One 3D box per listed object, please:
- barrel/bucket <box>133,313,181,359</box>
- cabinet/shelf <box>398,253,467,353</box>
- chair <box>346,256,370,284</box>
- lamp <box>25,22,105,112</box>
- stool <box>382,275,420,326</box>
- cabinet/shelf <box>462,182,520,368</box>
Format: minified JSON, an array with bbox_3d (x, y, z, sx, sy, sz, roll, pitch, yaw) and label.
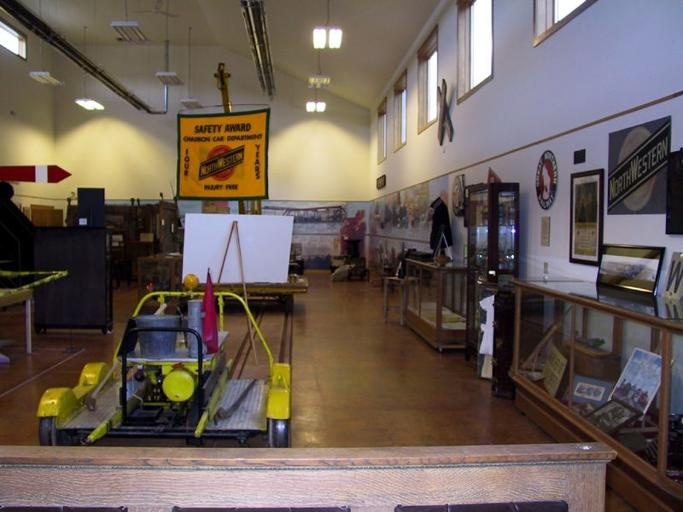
[{"bbox_3d":[-1.343,0.581,3.987,0.300,0.261,0.294,1,2,0],"label":"barrel/bucket"},{"bbox_3d":[1.329,0.655,7.591,0.620,1.128,1.795,0,5,-1],"label":"cabinet/shelf"},{"bbox_3d":[0.441,0.381,15.410,0.512,0.601,0.669,0,5,0],"label":"chair"},{"bbox_3d":[-6.843,-4.633,13.627,1.592,2.114,5.468,-2,6,-25],"label":"lamp"},{"bbox_3d":[0.918,0.686,9.060,0.641,0.861,0.680,5,8,31],"label":"stool"},{"bbox_3d":[1.696,0.216,6.305,0.673,2.111,0.570,4,6,34],"label":"cabinet/shelf"}]
